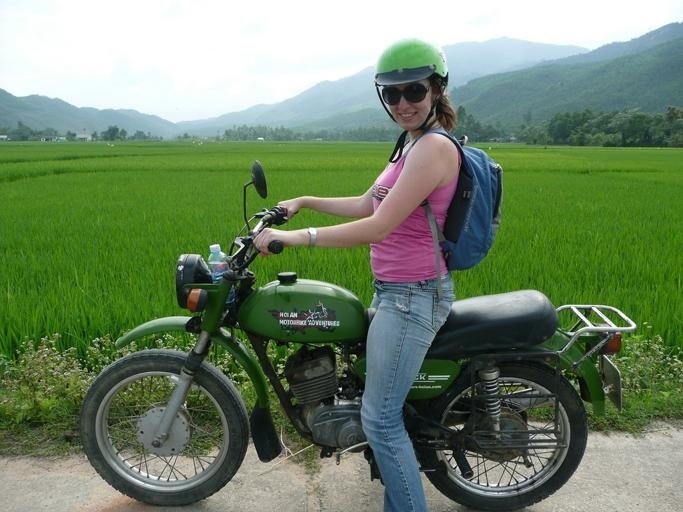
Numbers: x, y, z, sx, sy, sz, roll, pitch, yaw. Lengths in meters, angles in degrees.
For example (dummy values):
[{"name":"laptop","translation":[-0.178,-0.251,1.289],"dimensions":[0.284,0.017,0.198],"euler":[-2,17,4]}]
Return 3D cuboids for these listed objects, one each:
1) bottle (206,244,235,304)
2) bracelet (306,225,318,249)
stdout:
[{"name":"bottle","translation":[-0.841,0.116,4.053],"dimensions":[0.153,0.445,0.288],"euler":[-13,22,-30]},{"name":"bracelet","translation":[-0.196,-0.121,3.853],"dimensions":[0.086,0.175,0.177],"euler":[1,40,-5]}]
